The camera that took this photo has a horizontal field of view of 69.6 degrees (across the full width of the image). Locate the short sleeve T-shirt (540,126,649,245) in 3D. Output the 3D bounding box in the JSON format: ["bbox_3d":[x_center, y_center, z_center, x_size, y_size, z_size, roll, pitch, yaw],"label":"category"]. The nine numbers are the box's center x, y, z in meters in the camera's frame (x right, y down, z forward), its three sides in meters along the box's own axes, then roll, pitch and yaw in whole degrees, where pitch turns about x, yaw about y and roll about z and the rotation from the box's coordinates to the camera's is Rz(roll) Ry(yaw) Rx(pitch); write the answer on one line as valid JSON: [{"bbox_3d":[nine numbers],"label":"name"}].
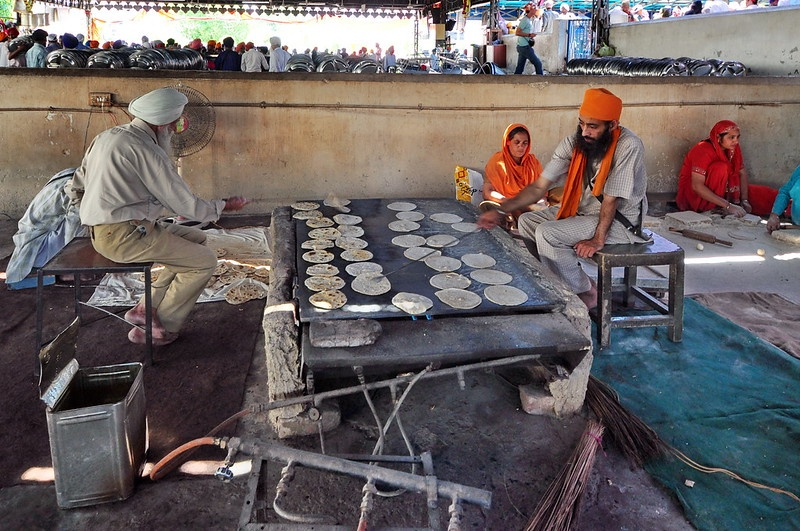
[{"bbox_3d":[1.825,-0.747,5.638,1.089,1.107,0.891,13,10,37],"label":"short sleeve T-shirt"}]

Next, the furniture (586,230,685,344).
[{"bbox_3d":[2.162,0.226,5.358,0.539,0.608,0.968,1,18,8],"label":"furniture"}]

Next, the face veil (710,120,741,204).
[{"bbox_3d":[4.527,-1.435,8.019,0.517,1.152,0.342,4,20,15],"label":"face veil"}]

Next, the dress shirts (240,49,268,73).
[{"bbox_3d":[-2.510,-3.617,10.058,0.444,0.341,0.510,16,25,41],"label":"dress shirts"}]

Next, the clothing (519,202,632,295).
[{"bbox_3d":[1.536,-0.182,5.582,0.925,0.835,0.741,2,12,-14],"label":"clothing"}]

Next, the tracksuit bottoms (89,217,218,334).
[{"bbox_3d":[-2.347,0.059,5.345,1.129,1.270,1.432,-1,14,-24],"label":"tracksuit bottoms"}]

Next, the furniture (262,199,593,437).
[{"bbox_3d":[0.124,0.414,5.068,2.485,1.208,2.137,-3,18,-7],"label":"furniture"}]

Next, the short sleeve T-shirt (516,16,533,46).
[{"bbox_3d":[2.302,-4.393,10.755,0.270,0.554,0.426,5,20,18],"label":"short sleeve T-shirt"}]

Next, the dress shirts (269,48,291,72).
[{"bbox_3d":[-2.299,-3.953,10.944,0.337,0.439,1.092,-4,18,-8],"label":"dress shirts"}]

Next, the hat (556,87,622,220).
[{"bbox_3d":[1.763,-1.027,5.397,0.508,1.204,0.328,7,21,24],"label":"hat"}]

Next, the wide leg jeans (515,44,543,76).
[{"bbox_3d":[2.421,-3.950,10.997,0.441,0.480,0.613,2,19,10],"label":"wide leg jeans"}]

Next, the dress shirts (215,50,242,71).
[{"bbox_3d":[-2.836,-3.439,9.558,0.430,0.329,0.685,-6,19,-14],"label":"dress shirts"}]

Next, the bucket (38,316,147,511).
[{"bbox_3d":[-2.069,0.965,4.013,0.750,0.956,0.742,-2,16,1],"label":"bucket"}]

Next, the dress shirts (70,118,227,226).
[{"bbox_3d":[-2.278,-0.786,5.089,1.598,0.949,0.664,15,19,18],"label":"dress shirts"}]

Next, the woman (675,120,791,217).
[{"bbox_3d":[4.687,-1.349,8.062,1.561,1.230,1.220,3,23,15],"label":"woman"}]

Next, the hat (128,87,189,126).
[{"bbox_3d":[-2.102,-1.366,4.990,0.413,0.225,0.352,-1,19,30],"label":"hat"}]

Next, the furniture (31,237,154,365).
[{"bbox_3d":[-2.535,0.285,5.099,1.038,0.538,1.033,-9,5,28],"label":"furniture"}]

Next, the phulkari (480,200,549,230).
[{"bbox_3d":[1.157,-0.526,5.926,0.658,0.208,0.257,-13,-18,8],"label":"phulkari"}]
